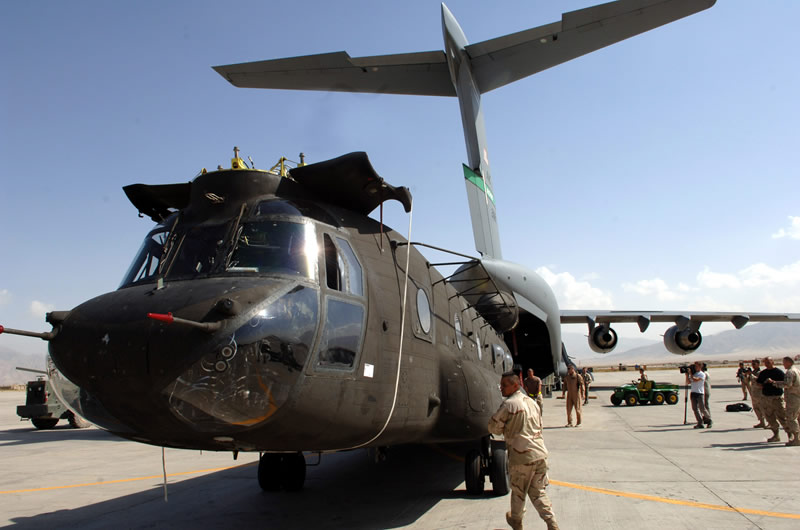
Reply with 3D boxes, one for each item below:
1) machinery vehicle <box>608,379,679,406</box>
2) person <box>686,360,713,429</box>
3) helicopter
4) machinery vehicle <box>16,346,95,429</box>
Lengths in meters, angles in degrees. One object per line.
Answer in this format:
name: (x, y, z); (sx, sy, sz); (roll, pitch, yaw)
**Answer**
machinery vehicle: (10.882, 5.735, 24.216); (2.661, 1.214, 1.427); (2, -12, 0)
person: (9.586, 4.143, 17.317); (0.542, 2.052, 0.934); (-9, -16, 25)
helicopter: (-1.141, 1.681, 11.106); (4.119, 4.696, 9.329); (-9, -22, 20)
machinery vehicle: (-13.757, 5.302, 21.558); (1.615, 1.735, 2.852); (1, -16, -2)
